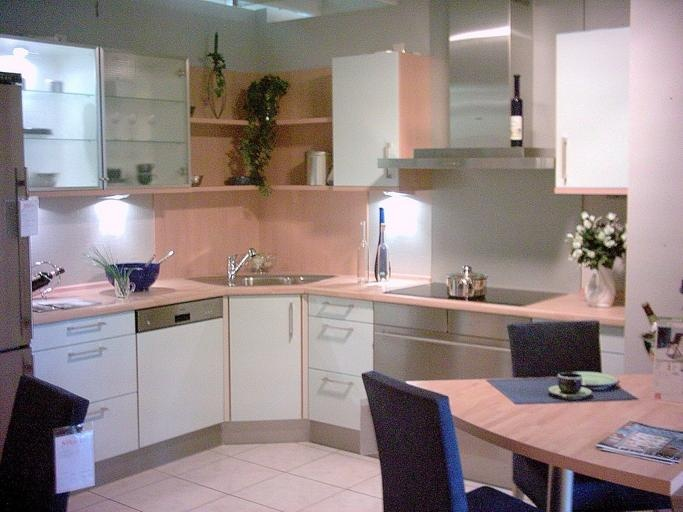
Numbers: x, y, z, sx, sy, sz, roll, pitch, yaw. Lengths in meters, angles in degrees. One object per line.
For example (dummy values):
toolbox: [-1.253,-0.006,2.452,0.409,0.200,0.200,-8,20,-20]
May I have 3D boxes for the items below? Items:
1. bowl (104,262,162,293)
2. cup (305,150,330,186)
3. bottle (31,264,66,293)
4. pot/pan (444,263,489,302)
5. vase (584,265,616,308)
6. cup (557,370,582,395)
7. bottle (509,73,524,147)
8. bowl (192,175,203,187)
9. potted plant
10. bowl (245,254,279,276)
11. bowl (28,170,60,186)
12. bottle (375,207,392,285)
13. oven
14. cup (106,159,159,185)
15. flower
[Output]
bowl: [-1.502,0.149,4.005,0.345,0.212,0.487,-1,6,-18]
cup: [-0.192,-0.723,4.584,0.196,0.283,0.193,1,6,0]
bottle: [-1.969,0.161,3.744,0.180,0.179,0.446,-2,6,-25]
pot/pan: [0.852,0.180,3.750,0.228,0.181,0.236,0,1,7]
vase: [1.586,0.183,3.380,0.166,0.239,0.144,1,6,5]
cup: [0.899,0.491,2.182,0.077,0.064,0.081,1,6,0]
bottle: [1.164,-0.955,3.675,0.083,0.474,0.166,2,6,15]
bowl: [-1.171,-0.608,4.521,0.086,0.077,0.096,2,19,-5]
potted plant: [-0.699,-1.078,4.845,0.453,1.051,0.470,-5,8,-42]
bowl: [-0.661,0.064,4.745,0.206,0.135,0.205,0,3,0]
bowl: [-1.868,-0.474,3.484,0.115,0.058,0.114,0,1,0]
bottle: [0.337,-0.102,4.443,0.134,0.573,0.312,1,6,6]
oven: [0.673,0.814,3.881,0.959,0.869,0.653,6,1,8]
cup: [-1.471,-0.587,3.899,0.285,0.135,0.123,-1,1,5]
flower: [1.594,-0.110,3.436,0.249,0.249,0.249,-39,13,8]
